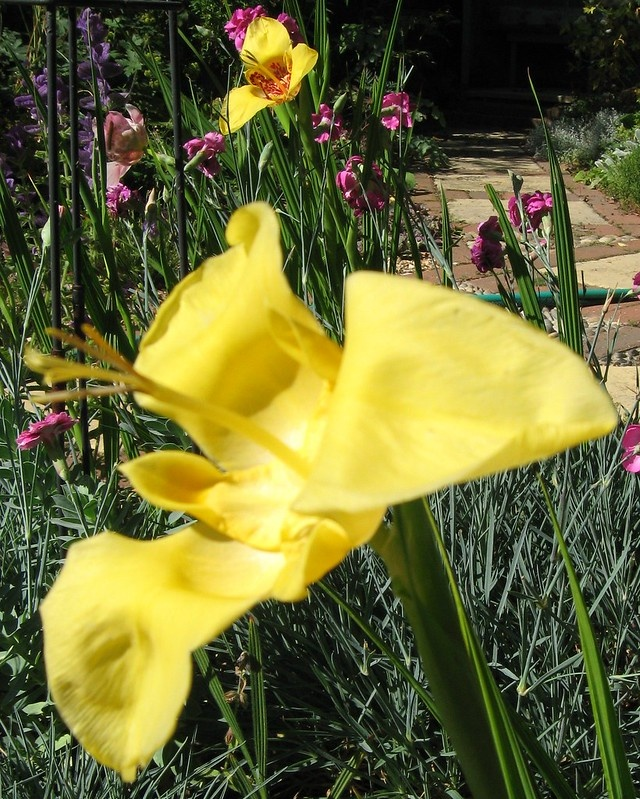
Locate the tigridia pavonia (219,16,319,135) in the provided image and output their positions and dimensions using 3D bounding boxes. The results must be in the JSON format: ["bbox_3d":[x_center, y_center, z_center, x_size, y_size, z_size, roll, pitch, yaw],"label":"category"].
[{"bbox_3d":[-0.096,-0.543,1.337,0.213,0.159,0.095,-13,-19,16],"label":"tigridia pavonia"}]

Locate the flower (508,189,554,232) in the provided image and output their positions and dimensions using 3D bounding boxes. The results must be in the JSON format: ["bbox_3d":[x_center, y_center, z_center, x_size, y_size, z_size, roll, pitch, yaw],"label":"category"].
[{"bbox_3d":[0.378,-0.338,1.399,0.086,0.076,0.040,14,21,13],"label":"flower"}]

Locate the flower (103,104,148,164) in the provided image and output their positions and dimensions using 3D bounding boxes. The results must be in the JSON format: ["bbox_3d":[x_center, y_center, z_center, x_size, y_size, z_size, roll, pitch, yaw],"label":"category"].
[{"bbox_3d":[-0.341,-0.474,1.408,0.081,0.084,0.106,15,36,2],"label":"flower"}]

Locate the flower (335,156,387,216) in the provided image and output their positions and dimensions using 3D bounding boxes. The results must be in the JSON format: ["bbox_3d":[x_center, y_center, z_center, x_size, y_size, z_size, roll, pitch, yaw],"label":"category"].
[{"bbox_3d":[0.078,-0.382,1.431,0.062,0.103,0.116,-34,62,-17],"label":"flower"}]

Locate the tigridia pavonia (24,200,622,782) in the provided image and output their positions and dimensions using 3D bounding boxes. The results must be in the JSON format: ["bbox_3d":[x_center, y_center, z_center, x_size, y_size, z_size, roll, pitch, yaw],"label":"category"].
[{"bbox_3d":[0.004,0.043,0.293,0.198,0.232,0.154,-1,14,16],"label":"tigridia pavonia"}]

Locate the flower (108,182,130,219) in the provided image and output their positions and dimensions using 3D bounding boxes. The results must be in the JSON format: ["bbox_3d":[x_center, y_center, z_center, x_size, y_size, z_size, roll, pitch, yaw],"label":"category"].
[{"bbox_3d":[-0.401,-0.404,1.611,0.056,0.074,0.079,1,17,-1],"label":"flower"}]
